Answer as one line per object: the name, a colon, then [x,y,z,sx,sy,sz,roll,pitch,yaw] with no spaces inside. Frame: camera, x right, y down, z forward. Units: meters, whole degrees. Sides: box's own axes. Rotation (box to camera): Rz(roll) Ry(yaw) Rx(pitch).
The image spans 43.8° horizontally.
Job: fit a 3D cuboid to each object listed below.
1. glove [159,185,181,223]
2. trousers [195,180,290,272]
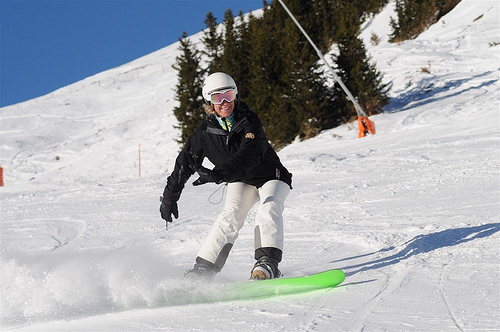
glove: [-1.717,0.813,13.271,0.332,0.837,0.356,-1,0,1]
trousers: [-0.063,1.183,12.805,1.412,2.171,0.751,1,-30,13]
